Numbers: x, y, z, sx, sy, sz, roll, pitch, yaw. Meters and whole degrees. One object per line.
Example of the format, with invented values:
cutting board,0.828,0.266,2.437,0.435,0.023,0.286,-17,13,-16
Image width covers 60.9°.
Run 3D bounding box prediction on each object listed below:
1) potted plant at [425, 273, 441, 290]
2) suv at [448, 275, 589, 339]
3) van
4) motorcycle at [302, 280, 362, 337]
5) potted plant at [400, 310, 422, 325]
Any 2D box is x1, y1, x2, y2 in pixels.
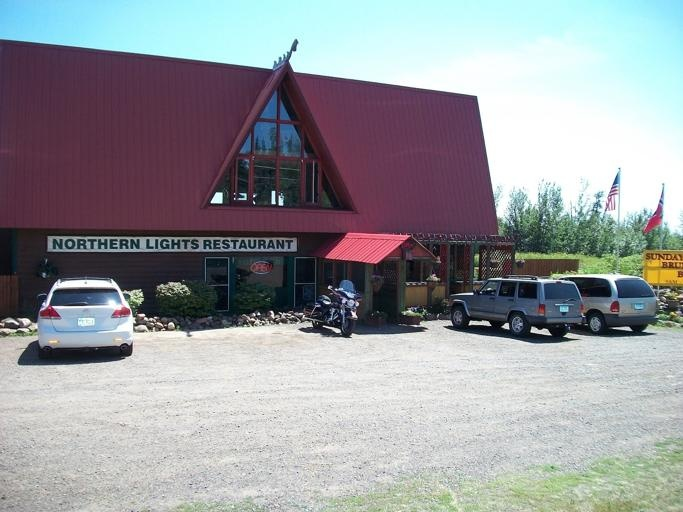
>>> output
potted plant,4.056,1.155,25.612,0.628,0.665,0.647,1,-4,2
suv,6.289,1.851,21.253,4.128,2.033,1.355,-3,-4,39
van,9.985,1.708,22.120,1.776,1.601,3.489,-1,5,-29
motorcycle,-0.385,1.810,21.578,1.182,1.905,3.227,16,-7,-31
potted plant,2.701,2.501,23.062,0.784,0.493,0.590,-1,-3,22
